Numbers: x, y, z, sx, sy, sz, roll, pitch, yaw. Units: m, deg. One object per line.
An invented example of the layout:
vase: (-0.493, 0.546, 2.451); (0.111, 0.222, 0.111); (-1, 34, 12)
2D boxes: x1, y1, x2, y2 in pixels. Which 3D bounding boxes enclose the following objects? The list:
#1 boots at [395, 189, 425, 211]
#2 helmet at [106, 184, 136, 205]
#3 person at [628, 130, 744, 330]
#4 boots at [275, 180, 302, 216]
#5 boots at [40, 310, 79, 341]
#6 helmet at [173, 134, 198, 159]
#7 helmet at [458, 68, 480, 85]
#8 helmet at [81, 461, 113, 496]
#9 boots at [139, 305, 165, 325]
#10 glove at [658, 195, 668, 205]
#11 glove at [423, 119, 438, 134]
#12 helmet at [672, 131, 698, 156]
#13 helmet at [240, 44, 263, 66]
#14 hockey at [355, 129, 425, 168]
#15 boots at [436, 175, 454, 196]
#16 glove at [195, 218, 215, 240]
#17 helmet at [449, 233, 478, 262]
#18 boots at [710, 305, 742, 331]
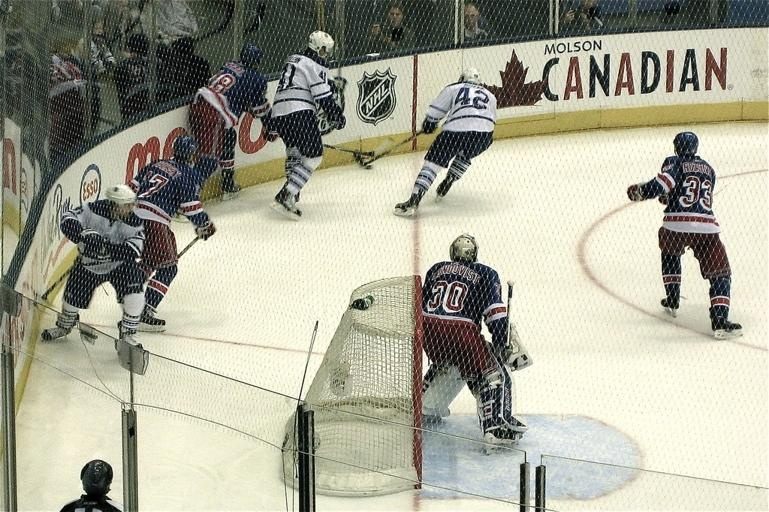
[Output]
boots: (0.225, -0.480, 12.567); (0.260, 0.210, 0.233); (1, -4, 2)
helmet: (-2.001, -0.453, 10.377); (0.213, 0.151, 0.164); (2, -4, -10)
person: (2.467, -0.162, 11.069); (0.838, 1.649, 0.384); (1, -4, 13)
boots: (-0.889, -0.498, 12.626); (0.251, 0.318, 0.274); (2, -4, -7)
boots: (-2.212, 0.486, 9.269); (0.112, 0.208, 0.300); (17, 4, -43)
helmet: (-1.623, -0.868, 11.034); (0.216, 0.206, 0.176); (4, 1, 31)
helmet: (0.781, -1.654, 12.600); (0.146, 0.171, 0.178); (3, 22, -10)
helmet: (-1.709, 1.353, 8.194); (0.168, 0.187, 0.203); (5, 30, -6)
boots: (-1.814, 0.495, 10.867); (0.278, 0.181, 0.091); (3, 3, -10)
glove: (2.274, -0.447, 11.168); (0.049, 0.065, 0.062); (5, 4, 10)
glove: (0.415, -1.191, 12.646); (0.121, 0.089, 0.129); (-23, -15, -7)
helmet: (2.446, -0.904, 11.158); (0.176, 0.184, 0.209); (-1, -1, 7)
helmet: (-1.221, -1.847, 12.739); (0.192, 0.179, 0.192); (28, 51, 22)
hockey: (-0.025, -0.964, 13.176); (0.760, 0.264, 0.167); (-25, -12, 20)
boots: (0.563, -0.639, 12.815); (0.088, 0.113, 0.283); (28, -40, -2)
glove: (-1.460, -0.202, 11.148); (0.154, 0.151, 0.139); (5, -41, 6)
helmet: (0.573, -0.050, 9.898); (0.166, 0.200, 0.205); (2, 2, 6)
boots: (2.720, 0.513, 10.917); (0.252, 0.192, 0.176); (2, -4, -1)
